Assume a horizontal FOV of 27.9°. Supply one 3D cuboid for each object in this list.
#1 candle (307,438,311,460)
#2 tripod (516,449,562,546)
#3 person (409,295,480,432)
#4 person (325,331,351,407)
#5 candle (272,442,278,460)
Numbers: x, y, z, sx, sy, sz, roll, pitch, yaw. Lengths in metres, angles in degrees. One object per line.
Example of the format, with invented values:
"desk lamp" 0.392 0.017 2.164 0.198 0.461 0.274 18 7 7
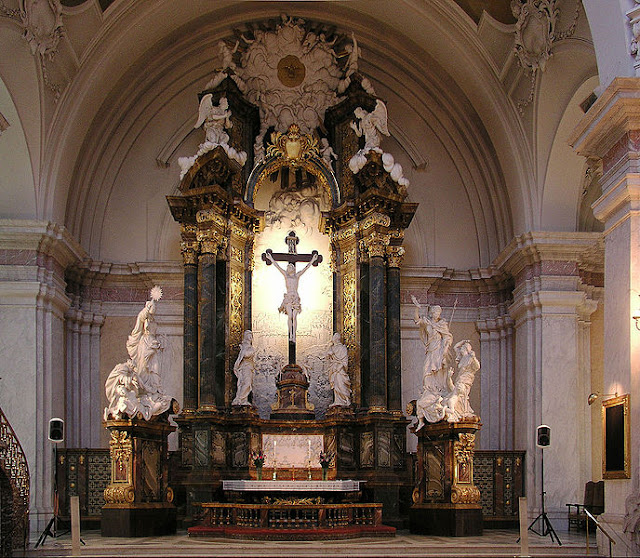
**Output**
"candle" -0.187 3.050 22.547 0.059 0.414 0.096 2 -13 -7
"tripod" 3.558 3.576 20.705 0.718 1.819 0.774 6 -22 -1
"person" 2.000 1.394 20.986 0.778 2.231 1.332 7 -15 -29
"person" 0.347 1.651 23.002 0.405 1.385 0.368 0 -13 1
"candle" -0.781 3.045 22.458 0.093 0.396 0.187 3 -13 -13
